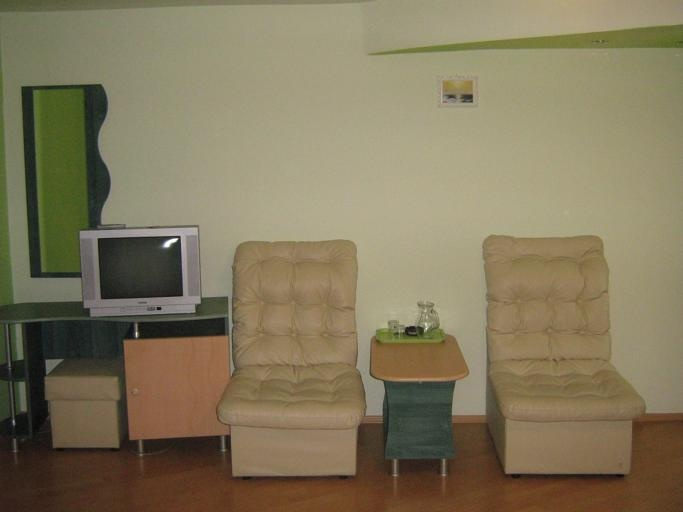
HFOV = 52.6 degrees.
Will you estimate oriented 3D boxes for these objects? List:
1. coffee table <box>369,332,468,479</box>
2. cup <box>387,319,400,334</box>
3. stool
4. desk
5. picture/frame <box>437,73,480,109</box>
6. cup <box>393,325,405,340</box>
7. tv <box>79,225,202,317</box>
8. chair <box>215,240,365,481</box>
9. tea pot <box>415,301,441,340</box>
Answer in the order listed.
[{"bbox_3d":[0.508,0.925,4.779,0.702,0.744,0.999,-1,12,2],"label":"coffee table"},{"bbox_3d":[0.374,0.505,4.971,0.070,0.088,0.088,1,-1,8],"label":"cup"},{"bbox_3d":[-1.752,1.028,4.964,0.548,0.582,0.550,0,10,-3],"label":"stool"},{"bbox_3d":[-1.500,0.826,4.894,1.415,0.982,0.530,0,0,-7],"label":"desk"},{"bbox_3d":[0.847,-1.206,4.989,0.252,0.201,0.014,0,5,-1],"label":"picture/frame"},{"bbox_3d":[0.417,0.538,4.934,0.092,0.099,0.088,2,9,0],"label":"cup"},{"bbox_3d":[-1.367,0.105,4.916,1.067,0.815,0.560,0,1,-5],"label":"tv"},{"bbox_3d":[-0.325,0.663,4.640,0.934,1.568,0.689,0,0,-1],"label":"chair"},{"bbox_3d":[0.613,0.451,4.994,0.233,0.299,0.184,1,0,-3],"label":"tea pot"}]
